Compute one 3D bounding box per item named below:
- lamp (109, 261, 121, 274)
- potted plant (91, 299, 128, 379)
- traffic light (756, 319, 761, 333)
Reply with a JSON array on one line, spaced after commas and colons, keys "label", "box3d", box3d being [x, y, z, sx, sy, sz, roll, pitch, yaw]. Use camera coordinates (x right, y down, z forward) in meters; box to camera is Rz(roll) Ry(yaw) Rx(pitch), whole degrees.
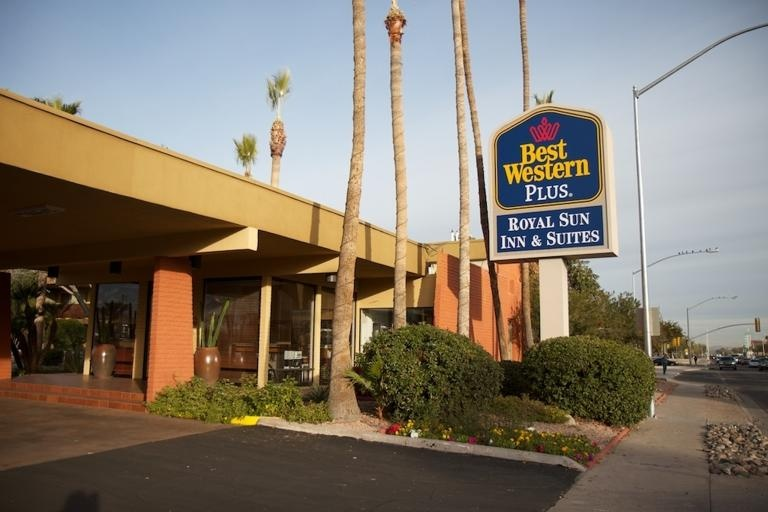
[{"label": "lamp", "box3d": [-8.670, 0.338, 18.276, 0.309, 0.458, 0.444, -7, -2, 35]}, {"label": "potted plant", "box3d": [-9.961, 2.933, 20.377, 1.000, 2.734, 1.897, 2, -9, -26]}, {"label": "traffic light", "box3d": [37.196, 6.744, 55.992, 0.334, 1.190, 0.704, -5, -9, 24]}]
